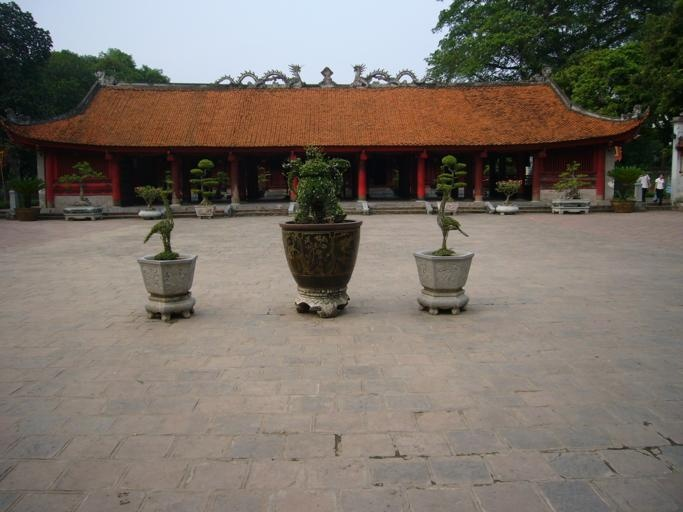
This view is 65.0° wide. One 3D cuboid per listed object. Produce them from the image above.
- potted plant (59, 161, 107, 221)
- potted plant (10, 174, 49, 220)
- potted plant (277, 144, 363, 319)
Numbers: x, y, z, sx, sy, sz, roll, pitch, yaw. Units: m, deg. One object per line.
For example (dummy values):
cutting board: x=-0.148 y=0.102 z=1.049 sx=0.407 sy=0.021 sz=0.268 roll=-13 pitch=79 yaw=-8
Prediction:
potted plant: x=-9.650 y=-2.468 z=20.040 sx=1.359 sy=1.927 sz=2.751 roll=-7 pitch=15 yaw=-23
potted plant: x=-11.489 y=-2.111 z=19.699 sx=1.386 sy=1.506 sz=1.283 roll=0 pitch=5 yaw=7
potted plant: x=-0.232 y=-0.221 z=6.090 sx=0.875 sy=1.690 sz=0.980 roll=0 pitch=15 yaw=1
